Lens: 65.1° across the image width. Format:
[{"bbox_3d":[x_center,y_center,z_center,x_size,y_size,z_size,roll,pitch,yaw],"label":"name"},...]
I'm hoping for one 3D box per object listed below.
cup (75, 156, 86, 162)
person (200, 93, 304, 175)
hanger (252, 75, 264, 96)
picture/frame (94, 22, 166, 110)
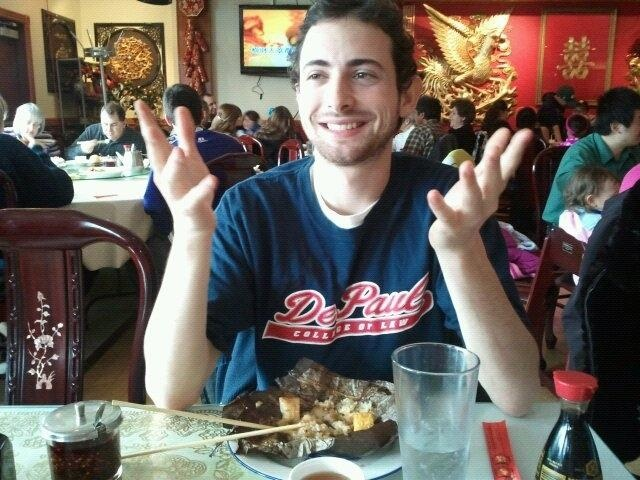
[{"bbox_3d":[-1.782,-0.596,3.722,0.077,0.053,0.074,1,2,0],"label":"cup"},{"bbox_3d":[-0.666,-1.133,5.503,1.207,0.568,1.610,0,14,-3],"label":"person"},{"bbox_3d":[-0.937,-2.376,7.727,0.171,0.256,0.267,-2,3,2],"label":"hanger"},{"bbox_3d":[-3.237,-3.058,8.579,1.075,1.408,0.073,-17,60,-26],"label":"picture/frame"}]
